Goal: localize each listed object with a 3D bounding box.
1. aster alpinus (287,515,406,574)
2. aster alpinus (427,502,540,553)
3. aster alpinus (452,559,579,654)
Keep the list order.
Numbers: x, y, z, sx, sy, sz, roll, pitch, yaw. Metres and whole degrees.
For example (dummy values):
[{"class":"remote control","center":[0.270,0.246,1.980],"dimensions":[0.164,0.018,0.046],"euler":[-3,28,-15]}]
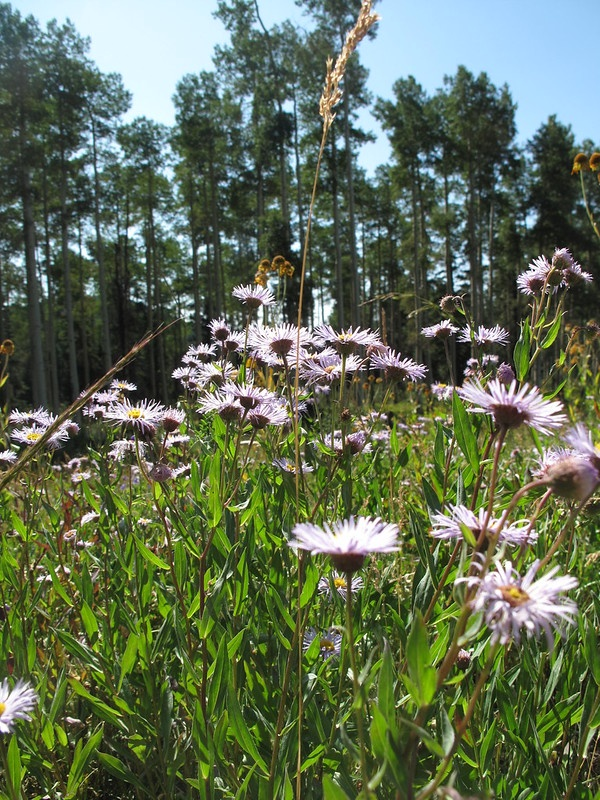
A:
[{"class":"aster alpinus","center":[0.078,0.257,1.498],"dimensions":[0.191,0.108,0.211],"euler":[-5,-1,-3]},{"class":"aster alpinus","center":[0.391,0.271,1.784],"dimensions":[0.174,0.102,0.200],"euler":[7,-14,16]},{"class":"aster alpinus","center":[0.364,0.340,1.416],"dimensions":[0.181,0.078,0.162],"euler":[4,18,-9]}]
